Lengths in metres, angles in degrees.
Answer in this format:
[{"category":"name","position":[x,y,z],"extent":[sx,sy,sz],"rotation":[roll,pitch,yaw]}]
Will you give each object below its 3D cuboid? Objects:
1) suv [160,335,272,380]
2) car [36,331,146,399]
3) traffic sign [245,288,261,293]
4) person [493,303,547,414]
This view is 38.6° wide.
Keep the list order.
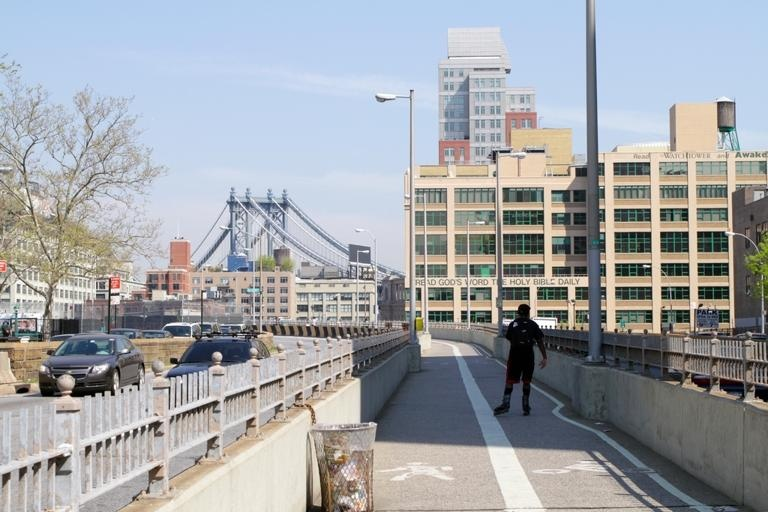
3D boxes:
[{"category":"suv","position":[-4.008,2.303,26.805],"extent":[1.804,0.957,3.674],"rotation":[1,-1,11]},{"category":"car","position":[-8.788,3.203,33.246],"extent":[2.198,1.620,5.171],"rotation":[1,-1,-1]},{"category":"traffic sign","position":[-14.806,3.933,125.119],"extent":[1.570,0.370,1.414],"rotation":[1,-4,-27]},{"category":"person","position":[3.511,2.558,28.126],"extent":[1.304,2.874,1.193],"rotation":[0,0,0]}]
